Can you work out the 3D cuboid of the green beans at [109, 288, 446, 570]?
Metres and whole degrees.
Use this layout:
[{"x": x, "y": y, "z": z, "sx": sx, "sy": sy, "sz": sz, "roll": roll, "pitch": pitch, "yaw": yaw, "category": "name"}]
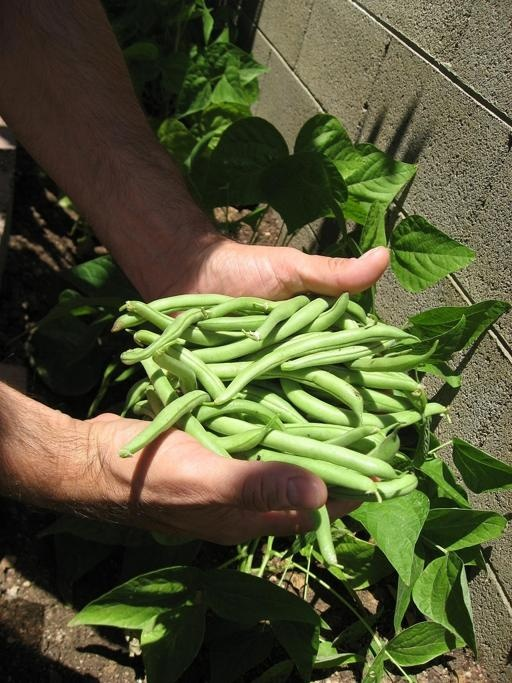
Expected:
[{"x": 0.087, "y": 0.087, "z": 1.158, "sx": 0.641, "sy": 0.413, "sz": 0.183, "roll": 15, "pitch": -4, "yaw": 5, "category": "green beans"}]
